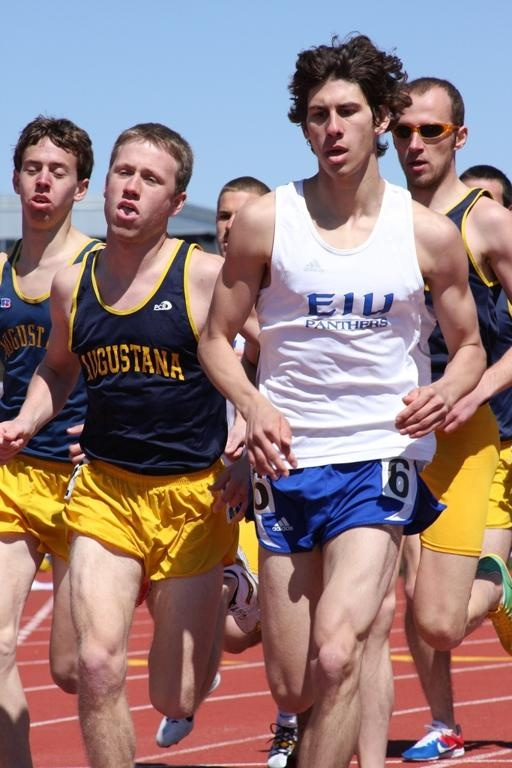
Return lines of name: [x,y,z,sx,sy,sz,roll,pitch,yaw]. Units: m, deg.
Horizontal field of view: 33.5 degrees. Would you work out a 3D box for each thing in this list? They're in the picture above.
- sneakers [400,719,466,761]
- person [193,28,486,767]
sneakers: [0.776,1.553,3.720,0.316,0.144,0.122,2,-3,-37]
person: [0.254,0.034,2.314,0.716,1.971,0.713,-6,10,-32]
